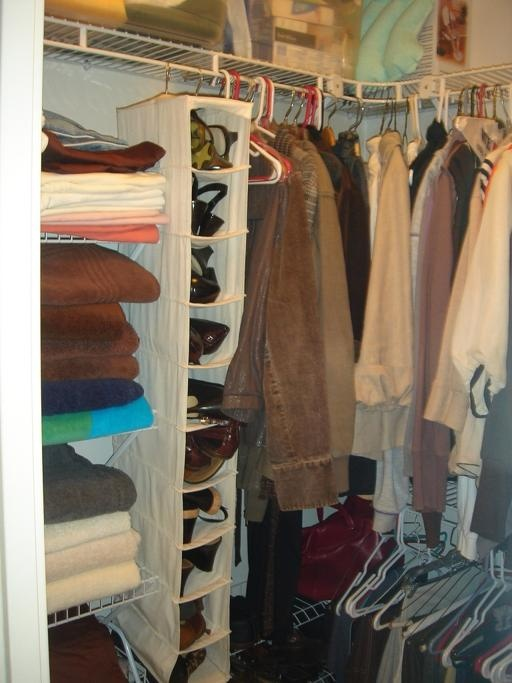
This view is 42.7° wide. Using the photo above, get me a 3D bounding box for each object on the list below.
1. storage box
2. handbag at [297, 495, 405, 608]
[{"bbox_3d":[0.107,-0.768,1.710,0.306,0.133,0.063,-8,12,-41],"label":"storage box"},{"bbox_3d":[0.301,0.669,2.103,0.337,0.323,0.122,-17,-39,38],"label":"handbag"}]
